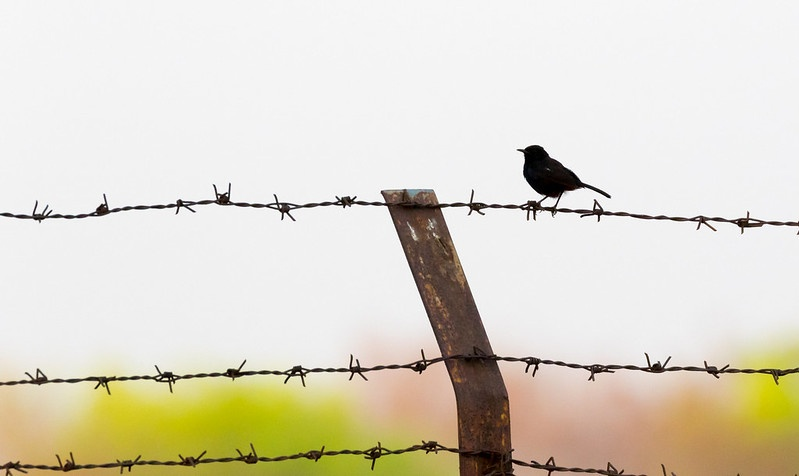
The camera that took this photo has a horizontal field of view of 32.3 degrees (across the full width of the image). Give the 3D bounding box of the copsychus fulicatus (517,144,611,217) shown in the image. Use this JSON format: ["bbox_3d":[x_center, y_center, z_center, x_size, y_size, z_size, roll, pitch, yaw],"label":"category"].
[{"bbox_3d":[1.304,-0.467,11.048,0.841,0.264,0.493,6,-87,-15],"label":"copsychus fulicatus"}]
